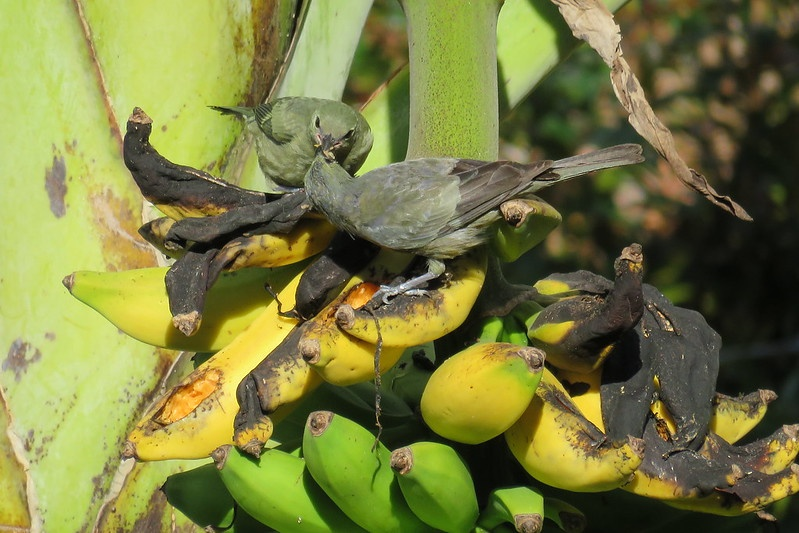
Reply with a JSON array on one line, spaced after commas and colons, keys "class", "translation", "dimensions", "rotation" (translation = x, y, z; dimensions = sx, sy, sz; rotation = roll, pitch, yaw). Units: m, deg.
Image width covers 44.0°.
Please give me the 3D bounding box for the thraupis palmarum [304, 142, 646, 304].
[{"class": "thraupis palmarum", "translation": [0.314, -0.286, 4.150], "dimensions": [1.369, 0.800, 0.433], "rotation": [-9, 27, 12]}]
